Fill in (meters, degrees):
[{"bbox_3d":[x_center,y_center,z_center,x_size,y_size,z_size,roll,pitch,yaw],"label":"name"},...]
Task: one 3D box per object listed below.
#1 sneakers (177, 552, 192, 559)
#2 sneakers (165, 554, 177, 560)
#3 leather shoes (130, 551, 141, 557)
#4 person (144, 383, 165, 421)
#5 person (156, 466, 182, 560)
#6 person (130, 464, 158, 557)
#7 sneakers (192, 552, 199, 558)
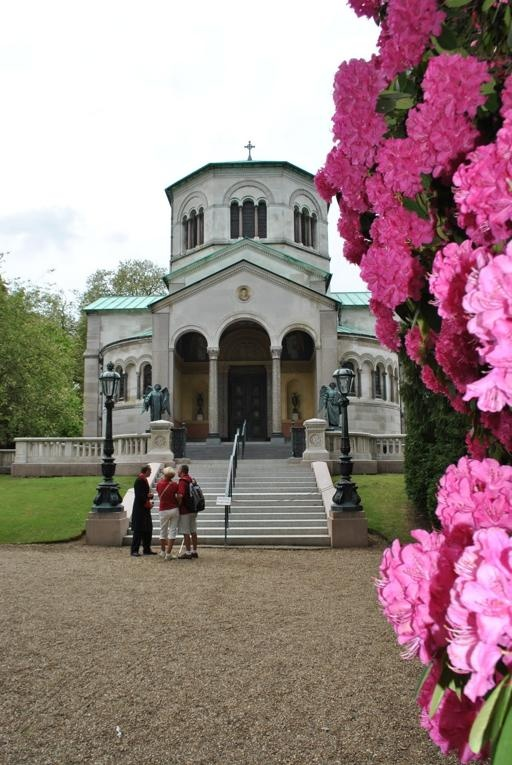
[{"bbox_3d":[-1.492,3.627,12.436,0.324,0.143,0.111,-1,-16,22],"label":"sneakers"},{"bbox_3d":[-1.741,3.588,12.232,0.239,0.104,0.087,1,-2,-31],"label":"sneakers"},{"bbox_3d":[-2.504,3.615,12.523,0.107,0.091,0.217,6,-16,-35],"label":"leather shoes"},{"bbox_3d":[-4.562,0.894,26.860,0.920,1.728,1.426,2,-7,-9],"label":"person"},{"bbox_3d":[-1.867,2.751,12.668,0.459,1.812,1.086,2,-7,-8],"label":"person"},{"bbox_3d":[-2.443,2.772,12.951,0.471,1.919,0.916,2,-7,-10],"label":"person"},{"bbox_3d":[-1.256,3.603,12.502,0.139,0.127,0.406,1,-7,0],"label":"sneakers"}]
